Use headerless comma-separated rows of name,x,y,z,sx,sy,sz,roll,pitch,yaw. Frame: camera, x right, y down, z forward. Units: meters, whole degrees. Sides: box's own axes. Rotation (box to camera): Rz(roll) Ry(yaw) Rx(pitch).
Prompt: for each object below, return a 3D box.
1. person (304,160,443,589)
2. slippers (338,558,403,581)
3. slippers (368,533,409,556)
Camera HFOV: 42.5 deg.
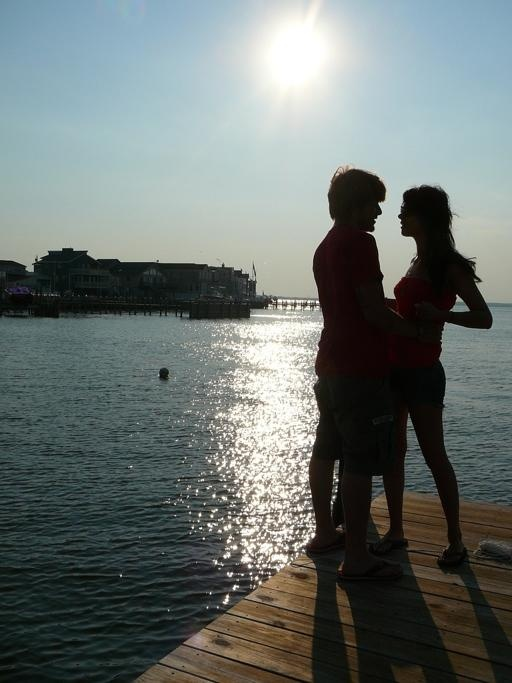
person,0.489,0.293,3.287,0.358,1.732,0.546,2,2,-18
slippers,0.545,1.086,3.105,0.236,0.064,0.122,-2,3,1
slippers,0.699,1.081,3.492,0.205,0.073,0.080,-4,2,-33
